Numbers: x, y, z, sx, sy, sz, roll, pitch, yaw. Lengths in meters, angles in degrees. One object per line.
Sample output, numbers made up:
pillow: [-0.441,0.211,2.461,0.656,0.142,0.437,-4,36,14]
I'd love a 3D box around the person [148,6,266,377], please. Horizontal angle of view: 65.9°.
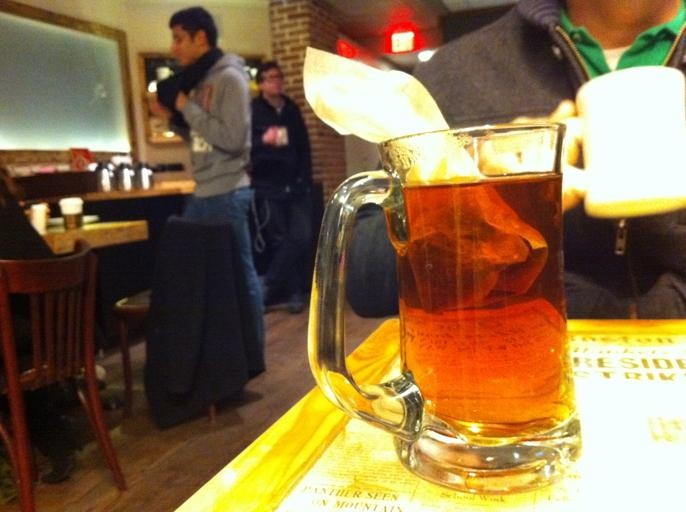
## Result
person: [-0.425,-0.182,1.746,0.299,1.189,0.206,-7,11,-18]

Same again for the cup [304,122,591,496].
cup: [0.101,0.048,0.529,0.255,0.340,0.132,0,11,18]
